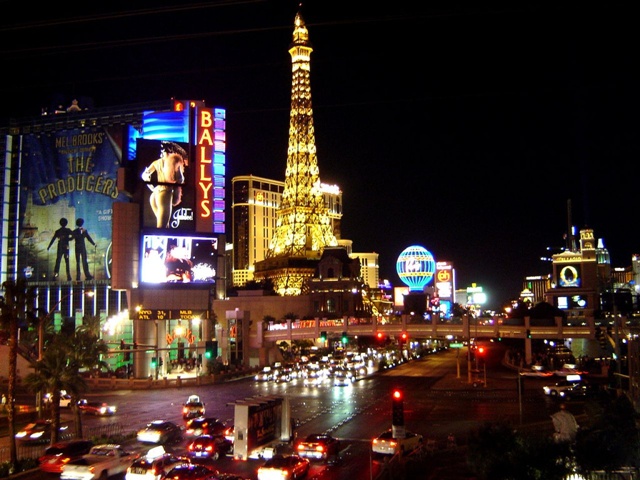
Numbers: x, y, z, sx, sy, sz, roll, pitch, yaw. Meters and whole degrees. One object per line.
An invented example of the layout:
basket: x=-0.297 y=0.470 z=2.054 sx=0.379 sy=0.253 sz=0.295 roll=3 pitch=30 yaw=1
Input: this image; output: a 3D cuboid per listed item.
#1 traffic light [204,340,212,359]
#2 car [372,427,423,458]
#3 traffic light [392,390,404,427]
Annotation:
traffic light: x=-9.396 y=9.217 z=64.202 sx=0.502 sy=1.343 sz=1.126 roll=0 pitch=-5 yaw=-6
car: x=4.962 y=13.018 z=49.532 sx=1.556 sy=1.229 sz=3.529 roll=-3 pitch=-1 yaw=40
traffic light: x=4.949 y=10.585 z=47.795 sx=0.603 sy=2.269 sz=1.200 roll=-1 pitch=-5 yaw=0
